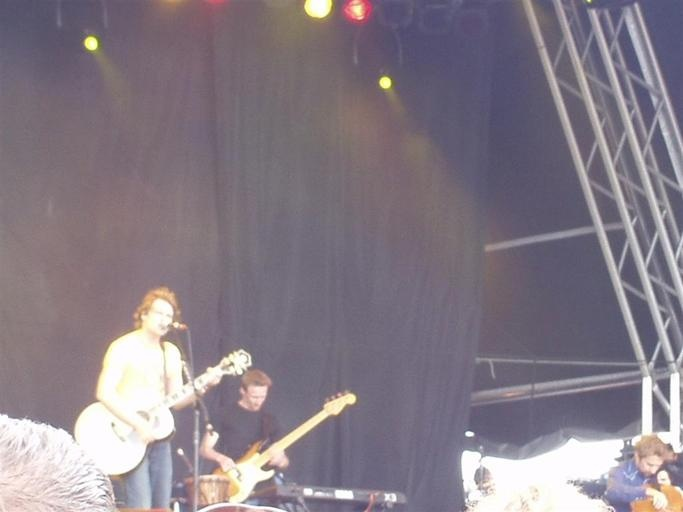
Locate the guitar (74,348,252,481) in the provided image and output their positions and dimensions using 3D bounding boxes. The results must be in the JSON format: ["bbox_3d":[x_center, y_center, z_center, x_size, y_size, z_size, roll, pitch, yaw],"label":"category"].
[{"bbox_3d":[-1.239,1.009,5.259,1.410,0.563,0.181,-40,-4,-29],"label":"guitar"}]

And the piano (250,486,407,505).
[{"bbox_3d":[-0.065,1.646,5.104,1.036,0.119,0.208,11,-23,-16],"label":"piano"}]

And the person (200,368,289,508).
[{"bbox_3d":[-0.729,1.328,5.365,0.345,0.879,0.116,44,-23,-21],"label":"person"}]

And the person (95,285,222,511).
[{"bbox_3d":[-1.296,1.010,5.132,0.737,1.953,0.638,19,-44,-36],"label":"person"}]

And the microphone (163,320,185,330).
[{"bbox_3d":[-1.169,0.485,5.223,0.123,0.039,0.099,1,-15,4],"label":"microphone"}]

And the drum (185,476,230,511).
[{"bbox_3d":[-0.936,1.614,5.118,0.322,0.244,0.316,3,-21,1],"label":"drum"}]
